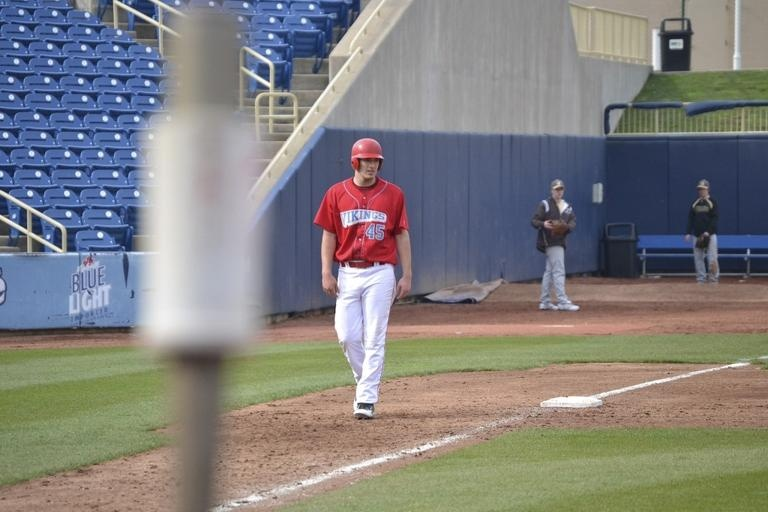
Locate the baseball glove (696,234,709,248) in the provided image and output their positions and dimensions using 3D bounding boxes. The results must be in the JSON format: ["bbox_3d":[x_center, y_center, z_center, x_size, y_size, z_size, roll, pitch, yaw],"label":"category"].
[{"bbox_3d":[7.292,-0.323,37.249,0.357,0.270,0.217,4,2,-41],"label":"baseball glove"}]

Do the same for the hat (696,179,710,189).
[{"bbox_3d":[7.351,-1.617,37.450,0.210,0.206,0.544,-1,0,5],"label":"hat"}]

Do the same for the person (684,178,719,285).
[{"bbox_3d":[7.355,-0.563,37.681,0.696,2.053,1.290,-2,0,9],"label":"person"}]

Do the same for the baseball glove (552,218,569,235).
[{"bbox_3d":[3.477,-0.580,32.385,0.260,0.253,0.318,9,19,18],"label":"baseball glove"}]

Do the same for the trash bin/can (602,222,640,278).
[{"bbox_3d":[5.942,-0.169,40.703,0.887,1.226,1.943,-1,0,8],"label":"trash bin/can"}]

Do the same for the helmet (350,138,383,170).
[{"bbox_3d":[-0.306,-1.577,25.132,0.532,0.399,0.518,1,-6,-26],"label":"helmet"}]
